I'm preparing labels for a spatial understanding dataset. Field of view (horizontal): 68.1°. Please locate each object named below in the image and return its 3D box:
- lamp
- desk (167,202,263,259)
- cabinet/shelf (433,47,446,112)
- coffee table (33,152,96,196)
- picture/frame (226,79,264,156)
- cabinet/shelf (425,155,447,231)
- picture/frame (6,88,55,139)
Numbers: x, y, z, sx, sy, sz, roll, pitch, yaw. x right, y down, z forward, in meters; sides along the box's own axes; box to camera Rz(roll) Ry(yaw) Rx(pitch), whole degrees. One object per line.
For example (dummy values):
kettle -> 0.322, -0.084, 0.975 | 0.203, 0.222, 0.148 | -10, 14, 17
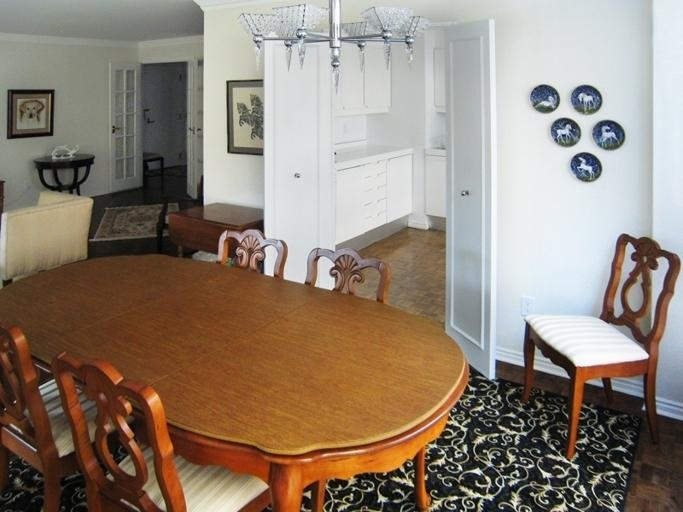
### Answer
lamp -> 0.034, -1.212, 2.865 | 0.893, 0.549, 1.476 | 1, 13, 9
desk -> -1.171, -0.370, 4.866 | 0.731, 0.767, 0.538 | 12, 17, 39
cabinet/shelf -> 1.322, -2.416, 6.870 | 0.153, 0.813, 0.085 | 0, 12, 4
coffee table -> -4.376, -1.317, 8.039 | 0.713, 0.827, 0.735 | -3, 7, -10
picture/frame -> -0.953, -1.419, 5.056 | 0.658, 0.867, 0.035 | 7, 9, 35
cabinet/shelf -> 1.296, -1.028, 7.031 | 0.090, 0.905, 0.341 | -12, 16, -41
picture/frame -> -4.747, -2.187, 7.651 | 0.057, 0.726, 0.772 | 5, 8, 24
